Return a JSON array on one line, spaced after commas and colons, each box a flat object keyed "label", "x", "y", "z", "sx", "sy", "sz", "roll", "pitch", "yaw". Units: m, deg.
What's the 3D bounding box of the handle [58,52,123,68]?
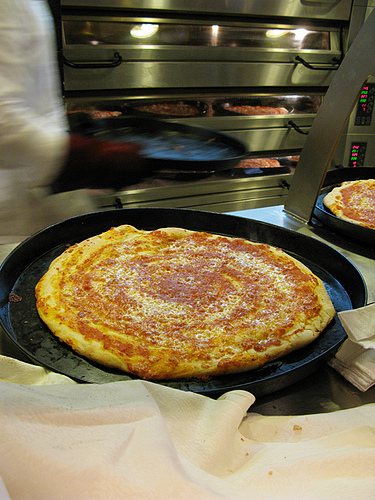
[{"label": "handle", "x": -0.408, "y": -0.818, "z": 1.843, "sx": 0.268, "sy": 0.072, "sz": 0.093, "roll": -15, "pitch": 40, "yaw": -29}]

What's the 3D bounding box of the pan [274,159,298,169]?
[{"label": "pan", "x": 0.633, "y": -0.566, "z": 2.754, "sx": 0.146, "sy": 0.030, "sz": 0.127, "roll": 14, "pitch": 18, "yaw": 37}]

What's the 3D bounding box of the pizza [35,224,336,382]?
[{"label": "pizza", "x": -0.008, "y": 0.073, "z": 0.875, "sx": 0.608, "sy": 0.083, "sz": 0.539, "roll": 12, "pitch": 33, "yaw": 8}]
